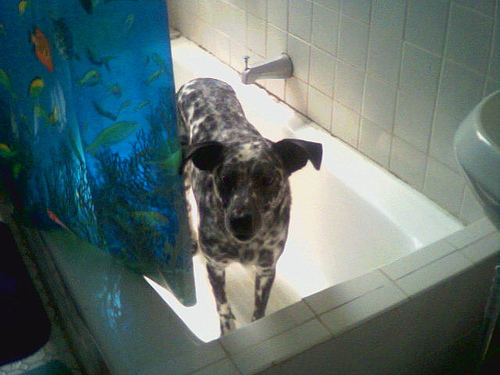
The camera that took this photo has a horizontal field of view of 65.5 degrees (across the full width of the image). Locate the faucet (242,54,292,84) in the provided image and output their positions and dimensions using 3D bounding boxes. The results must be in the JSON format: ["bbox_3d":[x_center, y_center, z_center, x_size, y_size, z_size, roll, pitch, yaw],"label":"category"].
[{"bbox_3d":[0.106,-0.735,2.378,0.276,0.164,0.164,-16,32,-28],"label":"faucet"}]

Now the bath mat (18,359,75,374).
[{"bbox_3d":[-0.407,0.373,0.800,0.070,0.002,0.025,6,37,-21],"label":"bath mat"}]

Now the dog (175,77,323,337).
[{"bbox_3d":[-0.052,0.018,1.760,0.551,0.978,0.906,-19,40,-12],"label":"dog"}]
